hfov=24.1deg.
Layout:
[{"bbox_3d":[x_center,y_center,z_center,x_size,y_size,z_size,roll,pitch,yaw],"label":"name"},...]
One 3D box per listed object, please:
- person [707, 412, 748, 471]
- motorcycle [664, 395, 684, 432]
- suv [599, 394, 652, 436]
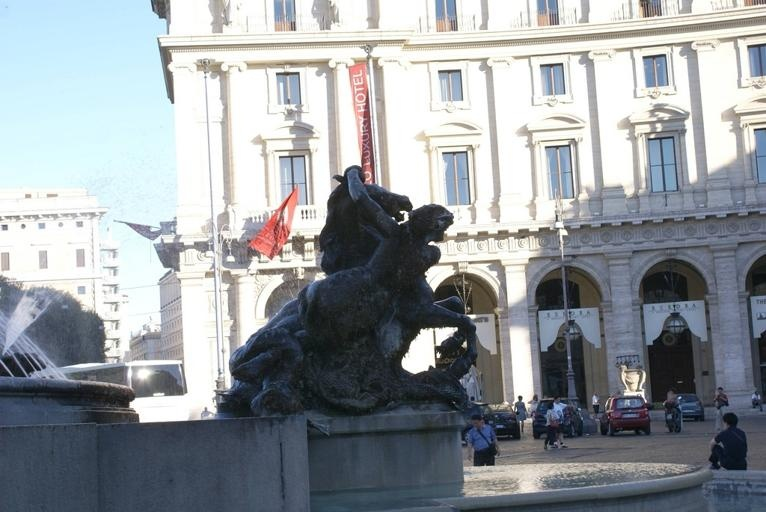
[{"bbox_3d":[13.755,7.411,71.860,1.401,2.356,0.875,-5,-9,10],"label":"person"},{"bbox_3d":[14.417,7.715,89.452,0.714,2.166,1.185,-4,-9,6],"label":"motorcycle"},{"bbox_3d":[12.234,8.001,90.827,2.662,1.918,4.286,-1,-2,6],"label":"suv"}]
